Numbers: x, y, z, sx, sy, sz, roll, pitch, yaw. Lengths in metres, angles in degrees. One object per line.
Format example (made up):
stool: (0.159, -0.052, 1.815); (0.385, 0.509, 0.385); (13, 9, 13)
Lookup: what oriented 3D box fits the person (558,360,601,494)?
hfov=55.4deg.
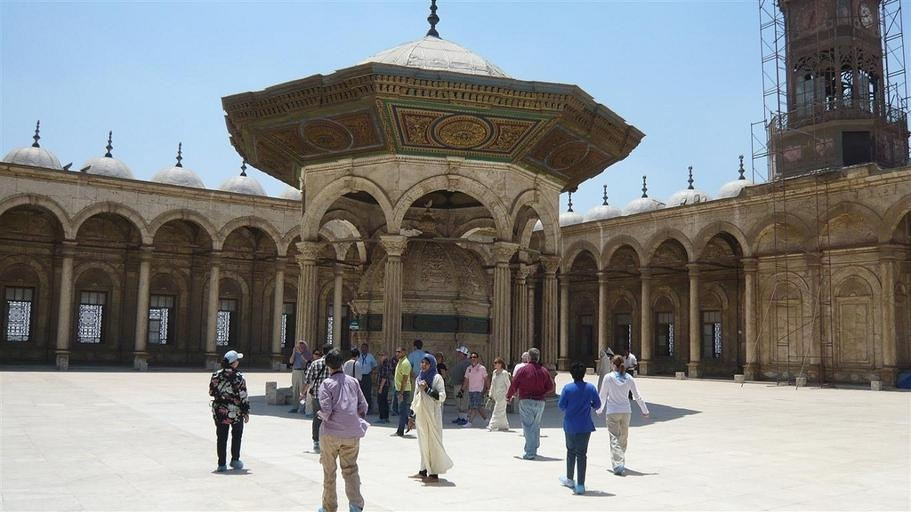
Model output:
person: (3.242, 4.458, 22.576); (1.028, 3.315, 1.061); (-1, -10, 8)

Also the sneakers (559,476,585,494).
sneakers: (2.990, 5.900, 22.264); (0.257, 0.235, 0.661); (5, 3, -33)

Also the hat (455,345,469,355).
hat: (0.281, 2.928, 27.546); (0.424, 0.156, 0.433); (10, -15, 4)

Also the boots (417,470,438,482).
boots: (-0.710, 5.726, 22.531); (0.591, 0.347, 0.222); (0, -9, 1)

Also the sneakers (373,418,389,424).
sneakers: (-2.379, 5.240, 27.480); (0.586, 0.201, 0.179); (2, -8, 14)

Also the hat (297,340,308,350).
hat: (-4.945, 2.943, 28.130); (0.286, 0.299, 0.305); (4, -41, -6)

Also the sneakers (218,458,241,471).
sneakers: (-5.853, 5.524, 22.797); (0.696, 0.251, 0.227); (-15, 0, 0)

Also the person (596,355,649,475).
person: (4.472, 4.261, 23.230); (1.066, 3.159, 1.204); (-1, -10, 10)

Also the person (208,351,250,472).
person: (-6.003, 4.118, 23.032); (0.978, 3.165, 1.109); (3, -10, -14)
